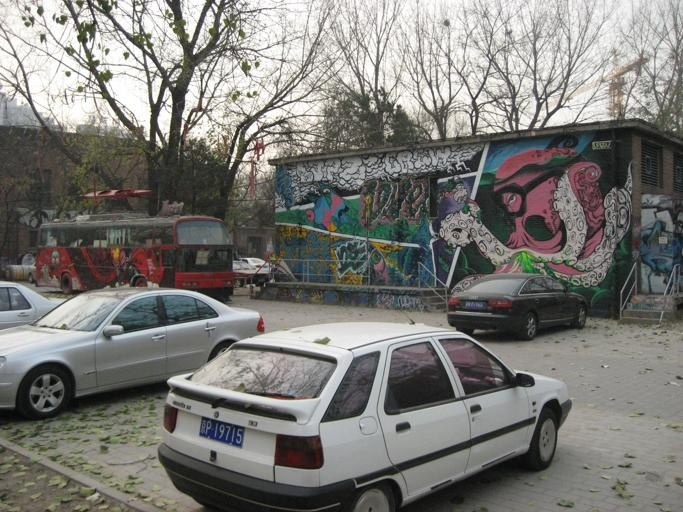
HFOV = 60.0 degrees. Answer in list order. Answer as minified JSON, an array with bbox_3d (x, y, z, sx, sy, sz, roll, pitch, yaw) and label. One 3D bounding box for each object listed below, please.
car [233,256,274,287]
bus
[{"bbox_3d":[-5.326,1.054,35.788,1.651,1.325,3.721,-3,6,-31],"label":"car"},{"bbox_3d":[-9.784,-0.138,28.590,12.730,4.303,3.944,1,2,44],"label":"bus"}]
